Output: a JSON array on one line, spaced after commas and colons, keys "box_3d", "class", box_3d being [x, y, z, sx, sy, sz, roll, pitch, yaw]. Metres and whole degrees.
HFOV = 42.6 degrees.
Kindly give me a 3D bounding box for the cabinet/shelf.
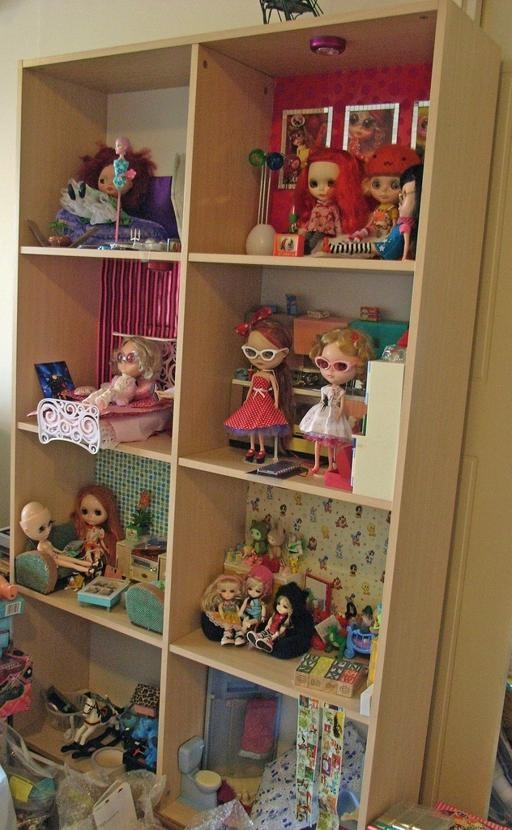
[{"box_3d": [0.001, 0.074, 1.541, 1.154, 1.793, 0.504, 11, 8, 35], "class": "cabinet/shelf"}]
